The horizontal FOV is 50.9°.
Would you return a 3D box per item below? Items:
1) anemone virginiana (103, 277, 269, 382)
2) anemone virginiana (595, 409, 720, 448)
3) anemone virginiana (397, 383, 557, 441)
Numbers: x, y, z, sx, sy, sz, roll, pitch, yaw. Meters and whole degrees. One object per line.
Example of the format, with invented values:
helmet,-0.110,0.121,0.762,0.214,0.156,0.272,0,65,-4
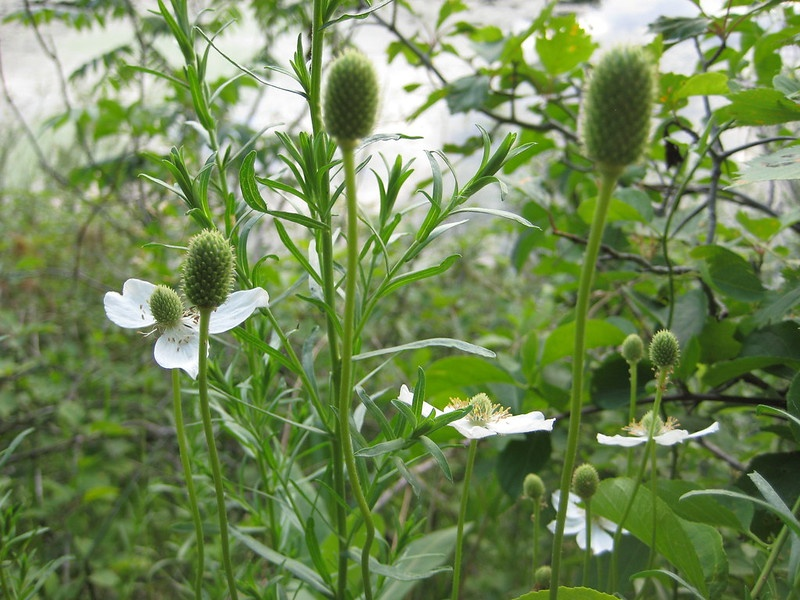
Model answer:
anemone virginiana,-0.413,0.044,1.591,0.225,0.118,0.230,35,48,27
anemone virginiana,0.558,0.271,1.774,0.210,0.081,0.482,6,0,22
anemone virginiana,0.135,0.229,1.671,0.284,0.108,0.355,6,0,-1
